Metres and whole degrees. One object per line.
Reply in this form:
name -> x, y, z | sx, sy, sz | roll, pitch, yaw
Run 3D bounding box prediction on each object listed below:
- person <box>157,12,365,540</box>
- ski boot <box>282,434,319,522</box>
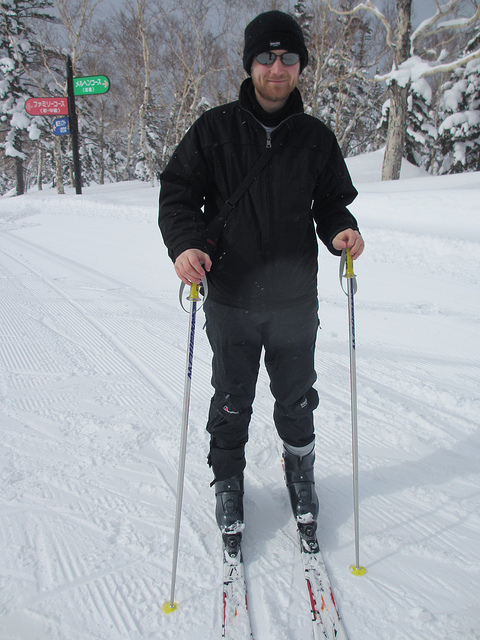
person -> 0.091, -0.132, 2.055 | 0.796, 1.983, 0.308 | -1, 11, -12
ski boot -> 0.271, 0.698, 2.285 | 0.113, 0.341, 0.344 | -5, 20, 4
